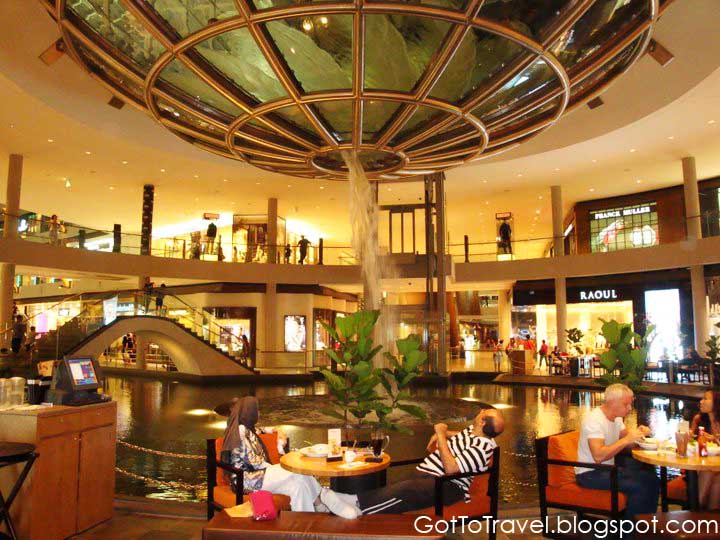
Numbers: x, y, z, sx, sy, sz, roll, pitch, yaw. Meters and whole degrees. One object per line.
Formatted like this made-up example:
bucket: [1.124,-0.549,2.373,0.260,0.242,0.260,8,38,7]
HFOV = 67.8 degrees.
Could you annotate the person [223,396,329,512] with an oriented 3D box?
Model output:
person: [-0.873,1.952,5.515,1.157,1.305,0.644,-7,-5,10]

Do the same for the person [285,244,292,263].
person: [-3.387,-0.775,25.031,0.294,0.864,0.332,-5,-9,29]

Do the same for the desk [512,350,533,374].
desk: [7.321,3.967,23.455,1.115,0.912,1.024,1,-4,-6]

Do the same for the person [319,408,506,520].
person: [0.608,1.911,5.290,1.852,0.706,0.746,-12,0,-6]

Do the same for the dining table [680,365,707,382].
dining table: [10.779,3.340,17.279,0.580,0.579,1.005,0,-6,26]

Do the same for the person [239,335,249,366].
person: [-5.068,3.442,23.462,0.351,1.270,0.432,1,-8,-10]

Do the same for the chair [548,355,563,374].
chair: [8.327,3.968,22.761,0.767,0.723,0.685,1,-2,39]

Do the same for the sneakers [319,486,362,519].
sneakers: [-0.130,2.118,4.803,0.297,0.102,0.283,2,-38,41]

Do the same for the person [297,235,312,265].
person: [-2.644,-0.905,25.478,0.443,1.346,0.805,-1,-8,7]

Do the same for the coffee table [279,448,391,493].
coffee table: [-0.145,2.059,5.372,1.011,0.315,0.991,-11,-12,35]

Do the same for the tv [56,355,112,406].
tv: [-3.227,1.280,6.177,0.551,0.588,0.662,-12,-15,24]

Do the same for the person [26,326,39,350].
person: [-10.976,2.220,17.900,0.313,0.796,1.103,5,-9,-31]

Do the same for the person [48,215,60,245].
person: [-11.059,-1.393,19.292,0.173,0.863,0.369,-3,-8,17]

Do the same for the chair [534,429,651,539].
chair: [2.467,2.233,5.546,1.163,0.975,1.073,2,-11,-8]

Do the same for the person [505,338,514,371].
person: [6.920,3.839,24.571,0.407,1.279,2.143,-2,-8,15]

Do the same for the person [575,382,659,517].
person: [2.651,1.884,5.450,0.784,1.325,0.738,-9,-7,42]

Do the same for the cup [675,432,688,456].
cup: [3.062,1.635,5.081,0.098,0.213,0.195,-5,-9,28]

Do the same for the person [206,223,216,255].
person: [-6.858,-1.482,24.696,0.476,1.621,1.310,2,-8,-16]

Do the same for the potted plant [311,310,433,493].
potted plant: [0.188,1.694,7.036,1.543,2.233,1.047,6,-10,-16]

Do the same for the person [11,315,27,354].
person: [-11.372,2.141,17.807,0.378,1.022,0.977,4,-9,-28]
